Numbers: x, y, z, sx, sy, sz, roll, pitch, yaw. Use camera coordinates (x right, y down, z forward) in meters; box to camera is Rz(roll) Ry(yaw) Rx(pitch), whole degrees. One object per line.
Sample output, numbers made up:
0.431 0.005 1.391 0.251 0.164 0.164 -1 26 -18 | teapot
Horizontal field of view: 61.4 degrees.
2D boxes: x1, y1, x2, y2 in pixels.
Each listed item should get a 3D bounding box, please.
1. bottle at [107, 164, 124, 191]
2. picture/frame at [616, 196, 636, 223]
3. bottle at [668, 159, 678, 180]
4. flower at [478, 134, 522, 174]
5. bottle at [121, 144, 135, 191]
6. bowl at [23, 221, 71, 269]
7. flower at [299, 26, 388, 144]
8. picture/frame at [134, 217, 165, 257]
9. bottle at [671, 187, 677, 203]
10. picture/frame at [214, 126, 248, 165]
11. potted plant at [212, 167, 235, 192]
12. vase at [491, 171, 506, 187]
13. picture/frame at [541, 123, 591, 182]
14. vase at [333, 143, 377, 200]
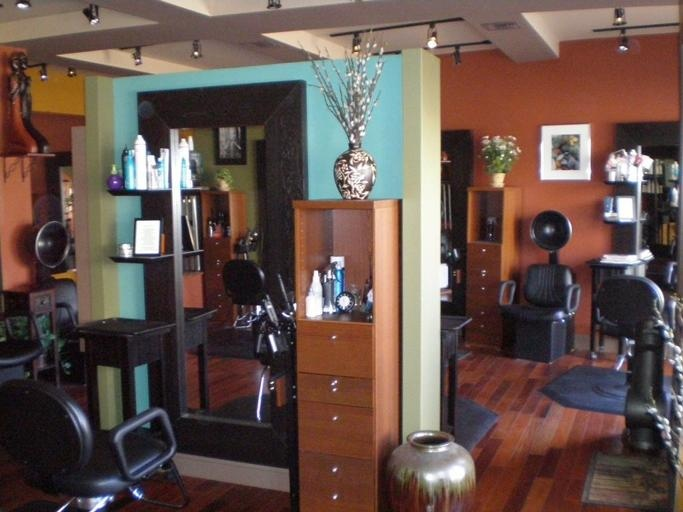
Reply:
-1.725 -0.599 4.370 0.112 0.203 0.239 -4 9 -22 | bottle
3.308 -0.557 6.693 0.232 0.377 0.264 0 1 28 | picture/frame
3.825 -0.989 6.621 0.044 0.205 0.085 -8 11 -41 | bottle
1.987 -1.220 7.203 0.521 0.543 0.490 -1 -2 -17 | flower
-1.616 -0.669 4.357 0.082 0.314 0.224 -4 9 -25 | bottle
-3.077 -0.113 6.007 0.403 0.479 0.245 -7 11 -38 | bowl
0.023 -1.013 3.744 0.356 0.633 0.539 -8 11 -42 | flower
-1.455 -0.144 4.358 0.281 0.331 0.034 -1 -5 13 | picture/frame
3.831 -0.700 6.605 0.035 0.184 0.071 -4 9 -24 | bottle
-0.781 -0.800 4.098 0.242 0.252 0.017 11 18 38 | picture/frame
-0.866 -0.562 4.223 0.156 0.194 0.161 4 -5 -36 | potted plant
1.941 -0.946 7.068 0.174 0.146 0.179 -3 7 -5 | vase
2.754 -1.285 6.986 0.698 0.852 0.063 0 1 21 | picture/frame
0.084 -0.505 3.484 0.286 0.355 0.291 0 -1 -7 | vase
